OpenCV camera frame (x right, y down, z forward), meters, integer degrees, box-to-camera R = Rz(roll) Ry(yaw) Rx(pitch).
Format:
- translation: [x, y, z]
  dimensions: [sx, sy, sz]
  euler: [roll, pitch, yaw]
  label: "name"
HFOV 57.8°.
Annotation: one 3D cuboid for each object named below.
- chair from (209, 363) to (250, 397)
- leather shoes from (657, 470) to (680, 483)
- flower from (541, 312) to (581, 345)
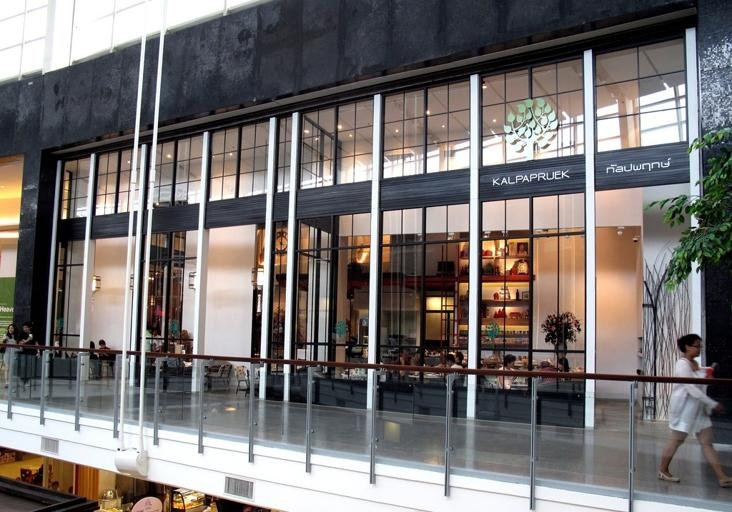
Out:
- translation: [-2.401, 2.152, 11.610]
  dimensions: [0.575, 0.698, 0.626]
  euler: [4, -3, -22]
  label: "chair"
- translation: [4.071, 3.008, 8.992]
  dimensions: [0.288, 0.112, 0.097]
  euler: [-11, -13, 43]
  label: "leather shoes"
- translation: [5.165, 1.945, 17.609]
  dimensions: [0.955, 0.644, 0.913]
  euler: [-3, -3, 15]
  label: "flower"
